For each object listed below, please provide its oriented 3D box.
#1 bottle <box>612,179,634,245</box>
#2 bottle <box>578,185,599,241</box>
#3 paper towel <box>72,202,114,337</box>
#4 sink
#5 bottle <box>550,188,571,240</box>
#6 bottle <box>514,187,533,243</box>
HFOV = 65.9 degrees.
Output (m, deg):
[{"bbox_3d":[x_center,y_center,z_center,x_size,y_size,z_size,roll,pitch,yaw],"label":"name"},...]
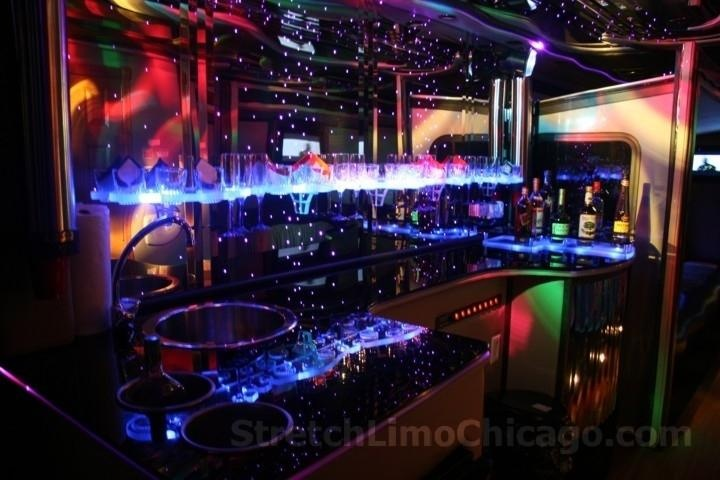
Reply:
[{"bbox_3d":[1.672,-0.196,3.507,0.095,0.387,0.437,4,11,26],"label":"bottle"},{"bbox_3d":[1.439,-0.169,3.485,0.098,0.330,0.163,3,10,20],"label":"bottle"},{"bbox_3d":[-0.994,0.107,2.079,0.126,0.462,0.156,-3,10,-15],"label":"paper towel"},{"bbox_3d":[-0.523,0.387,2.175,0.547,0.166,0.536,-8,12,-35],"label":"sink"},{"bbox_3d":[1.296,-0.172,3.579,0.102,0.314,0.225,3,10,19],"label":"bottle"},{"bbox_3d":[1.030,-0.164,3.473,0.098,0.323,0.196,2,10,16],"label":"bottle"}]
